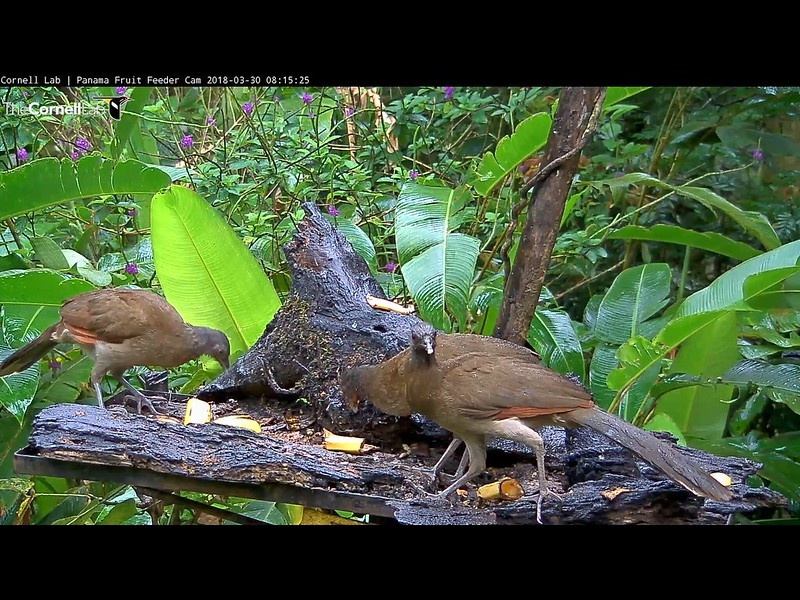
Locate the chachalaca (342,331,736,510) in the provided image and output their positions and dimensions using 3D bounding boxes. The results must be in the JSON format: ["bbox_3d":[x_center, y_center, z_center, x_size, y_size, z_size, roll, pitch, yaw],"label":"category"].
[{"bbox_3d":[0.485,0.430,2.892,1.398,0.561,0.420,0,-3,15],"label":"chachalaca"}]
